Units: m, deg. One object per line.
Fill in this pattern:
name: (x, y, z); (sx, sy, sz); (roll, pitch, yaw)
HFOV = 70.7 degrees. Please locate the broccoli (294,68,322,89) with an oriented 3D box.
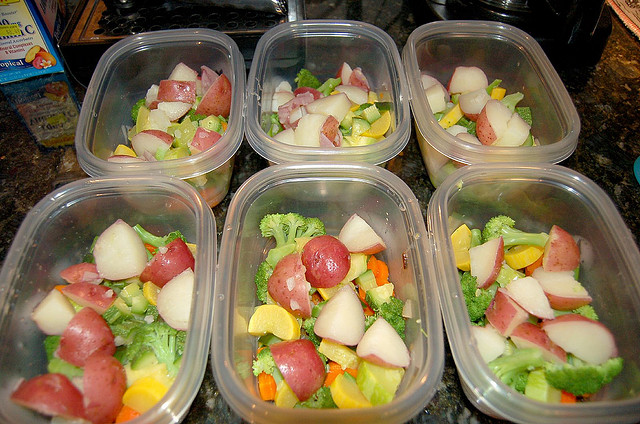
broccoli: (-0.059, -0.586, 1.984); (0.110, 0.118, 0.063); (-6, 93, -3)

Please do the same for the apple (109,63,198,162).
apple: (-0.626, -0.424, 1.724); (0.223, 0.099, 0.422); (2, 71, 1)

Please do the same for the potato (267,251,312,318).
potato: (-0.103, 0.249, 1.630); (0.151, 0.274, 0.219); (-3, 37, -2)

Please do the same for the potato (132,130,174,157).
potato: (-0.660, -0.269, 1.763); (0.160, 0.063, 0.094); (7, 65, 3)

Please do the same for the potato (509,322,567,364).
potato: (0.735, 0.435, 1.528); (0.186, 0.212, 0.082); (7, 86, -32)

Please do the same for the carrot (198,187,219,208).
carrot: (-0.412, -0.053, 1.706); (0.058, 0.028, 0.072); (6, 102, -19)

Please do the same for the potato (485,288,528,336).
potato: (0.615, 0.320, 1.517); (0.095, 0.038, 0.108); (-18, 26, -31)

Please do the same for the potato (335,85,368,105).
potato: (0.145, -0.495, 1.896); (0.110, 0.030, 0.073); (22, 64, 15)

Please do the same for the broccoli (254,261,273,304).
broccoli: (-0.191, 0.248, 1.610); (0.033, 0.142, 0.092); (20, 35, 34)

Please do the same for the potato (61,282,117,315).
potato: (-0.774, 0.282, 1.509); (0.118, 0.051, 0.117); (11, 30, -6)

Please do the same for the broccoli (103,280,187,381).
broccoli: (-0.591, 0.403, 1.531); (0.229, 0.093, 0.276); (-41, 74, -12)

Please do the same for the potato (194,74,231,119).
potato: (-0.415, -0.449, 1.854); (0.095, 0.148, 0.163); (34, 75, -10)

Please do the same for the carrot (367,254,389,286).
carrot: (0.213, 0.217, 1.637); (0.092, 0.032, 0.102); (8, 79, 41)

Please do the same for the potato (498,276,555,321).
potato: (0.702, 0.284, 1.530); (0.124, 0.041, 0.157); (-28, 68, -13)

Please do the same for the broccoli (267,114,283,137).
broccoli: (-0.194, -0.355, 1.871); (0.058, 0.025, 0.090); (-3, 87, -3)

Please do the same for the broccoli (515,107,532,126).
broccoli: (0.846, -0.399, 1.901); (0.076, 0.019, 0.073); (-40, 66, -15)

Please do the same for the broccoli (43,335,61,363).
broccoli: (-0.875, 0.445, 1.460); (0.061, 0.017, 0.079); (1, 76, 24)

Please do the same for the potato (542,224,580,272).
potato: (0.863, 0.130, 1.609); (0.115, 0.069, 0.201); (10, 57, 26)

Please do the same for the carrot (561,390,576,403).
carrot: (0.798, 0.597, 1.454); (0.040, 0.012, 0.043); (1, 91, -14)

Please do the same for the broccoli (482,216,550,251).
broccoli: (0.693, 0.071, 1.578); (0.169, 0.103, 0.130); (10, 62, 11)

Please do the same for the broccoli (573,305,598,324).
broccoli: (0.914, 0.342, 1.540); (0.050, 0.014, 0.055); (17, 57, 19)

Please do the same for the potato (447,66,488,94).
potato: (0.644, -0.566, 1.965); (0.165, 0.069, 0.112); (5, 65, 2)

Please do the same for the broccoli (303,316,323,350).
broccoli: (-0.033, 0.402, 1.520); (0.062, 0.020, 0.089); (-2, 74, 23)

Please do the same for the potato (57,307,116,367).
potato: (-0.747, 0.389, 1.439); (0.149, 0.061, 0.174); (0, 80, -12)

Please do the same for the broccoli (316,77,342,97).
broccoli: (0.040, -0.548, 1.972); (0.094, 0.045, 0.089); (9, 52, 22)

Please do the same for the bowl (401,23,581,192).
bowl: (0.679, -0.406, 1.948); (0.592, 0.331, 0.813); (-4, 59, -3)

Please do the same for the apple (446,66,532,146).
apple: (0.659, -0.400, 1.899); (0.373, 0.102, 0.282); (39, 72, 22)

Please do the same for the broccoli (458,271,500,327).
broccoli: (0.520, 0.287, 1.509); (0.155, 0.042, 0.168); (33, 61, -8)

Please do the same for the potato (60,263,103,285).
potato: (-0.828, 0.211, 1.552); (0.090, 0.029, 0.084); (-13, 44, -14)

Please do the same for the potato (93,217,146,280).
potato: (-0.702, 0.133, 1.577); (0.170, 0.087, 0.184); (-10, 65, -5)

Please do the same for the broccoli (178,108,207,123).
broccoli: (-0.527, -0.386, 1.837); (0.073, 0.020, 0.078); (-34, 75, -7)

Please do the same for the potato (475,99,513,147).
potato: (0.671, -0.335, 1.769); (0.137, 0.109, 0.189); (-6, 99, -45)

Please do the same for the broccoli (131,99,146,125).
broccoli: (-0.768, -0.418, 1.889); (0.029, 0.075, 0.096); (12, 42, -31)

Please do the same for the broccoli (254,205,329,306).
broccoli: (-0.111, 0.159, 1.683); (0.229, 0.152, 0.348); (7, 63, 28)

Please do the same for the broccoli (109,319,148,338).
broccoli: (-0.642, 0.384, 1.505); (0.057, 0.024, 0.078); (-1, 39, 20)

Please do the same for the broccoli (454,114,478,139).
broccoli: (0.612, -0.361, 1.882); (0.070, 0.022, 0.098); (-12, 58, 3)

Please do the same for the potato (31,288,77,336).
potato: (-0.885, 0.310, 1.484); (0.142, 0.148, 0.050); (-28, 50, -23)

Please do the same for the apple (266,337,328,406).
apple: (-0.071, 0.539, 1.532); (0.150, 0.183, 0.223); (-14, 55, -31)

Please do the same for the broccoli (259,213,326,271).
broccoli: (-0.113, 0.093, 1.700); (0.156, 0.195, 0.212); (2, 23, -41)

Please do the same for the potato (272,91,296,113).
potato: (-0.153, -0.461, 1.890); (0.091, 0.040, 0.093); (0, 65, 0)

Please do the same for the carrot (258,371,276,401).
carrot: (-0.181, 0.566, 1.483); (0.065, 0.111, 0.030); (22, 104, -16)

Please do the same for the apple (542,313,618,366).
apple: (0.856, 0.405, 1.469); (0.229, 0.052, 0.137); (26, 82, 7)

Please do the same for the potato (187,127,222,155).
potato: (-0.441, -0.270, 1.697); (0.094, 0.029, 0.101); (27, 76, 4)

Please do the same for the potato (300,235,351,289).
potato: (0.018, 0.170, 1.541); (0.136, 0.095, 0.182); (3, 73, 2)

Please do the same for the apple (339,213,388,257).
apple: (0.157, 0.089, 1.631); (0.129, 0.049, 0.155); (-1, 60, -48)

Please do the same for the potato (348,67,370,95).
potato: (0.166, -0.562, 1.943); (0.100, 0.035, 0.108); (-15, 95, -26)

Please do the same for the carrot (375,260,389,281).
carrot: (0.227, 0.214, 1.636); (0.049, 0.031, 0.070); (9, 65, 5)

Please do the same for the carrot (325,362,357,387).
carrot: (0.067, 0.537, 1.471); (0.097, 0.056, 0.076); (16, 66, 7)

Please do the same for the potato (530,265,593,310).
potato: (0.836, 0.279, 1.561); (0.158, 0.078, 0.180); (-5, 27, -13)

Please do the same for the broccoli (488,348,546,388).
broccoli: (0.622, 0.481, 1.433); (0.152, 0.055, 0.121); (-42, 82, -12)

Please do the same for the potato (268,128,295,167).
potato: (-0.148, -0.250, 1.764); (0.109, 0.051, 0.138); (5, 70, 5)

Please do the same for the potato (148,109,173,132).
potato: (-0.645, -0.372, 1.816); (0.092, 0.039, 0.090); (5, 65, 2)

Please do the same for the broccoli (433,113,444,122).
broccoli: (0.498, -0.397, 1.892); (0.013, 0.030, 0.043); (11, 48, 38)
